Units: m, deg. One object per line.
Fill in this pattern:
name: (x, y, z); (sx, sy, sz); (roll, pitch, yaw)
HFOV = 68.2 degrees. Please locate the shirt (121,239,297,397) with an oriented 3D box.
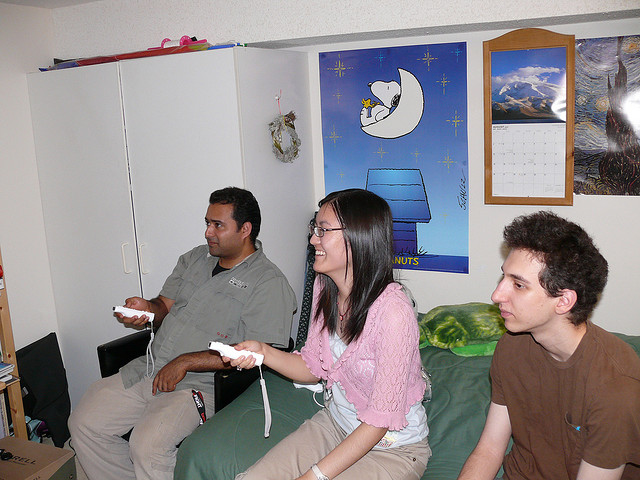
shirt: (-0.609, 0.445, 2.635); (0.777, 0.808, 0.462); (6, 4, 39)

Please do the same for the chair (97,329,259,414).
chair: (-0.863, 0.705, 2.862); (0.592, 0.425, 0.409); (9, 33, 28)

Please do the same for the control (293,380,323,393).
control: (-0.057, 0.749, 2.418); (0.171, 0.055, 0.174); (6, -18, 10)
